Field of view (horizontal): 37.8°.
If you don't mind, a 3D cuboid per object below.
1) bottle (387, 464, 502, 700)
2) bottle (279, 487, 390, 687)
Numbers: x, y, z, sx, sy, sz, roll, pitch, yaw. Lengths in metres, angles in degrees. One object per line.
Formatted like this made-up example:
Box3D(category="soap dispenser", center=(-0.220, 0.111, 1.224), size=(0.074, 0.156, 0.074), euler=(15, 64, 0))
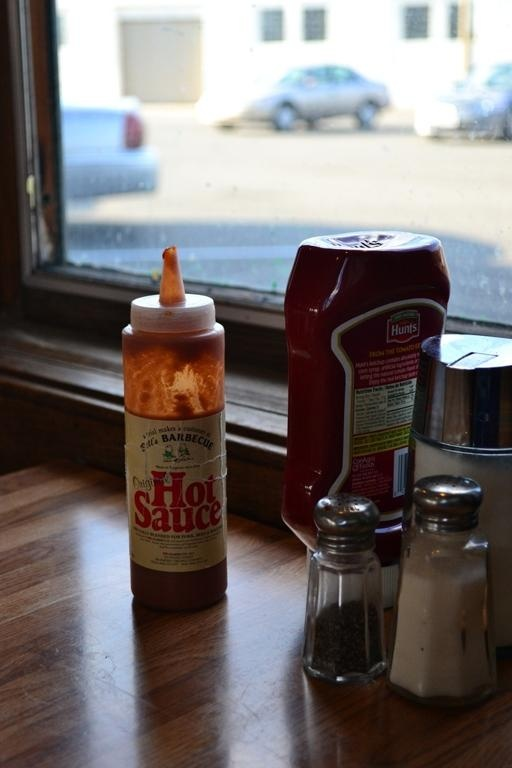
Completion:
Box3D(category="bottle", center=(0.116, 0.125, 0.455), size=(0.064, 0.143, 0.048), euler=(4, 14, 18))
Box3D(category="bottle", center=(0.061, 0.128, 0.507), size=(0.056, 0.126, 0.104), euler=(1, 13, 9))
